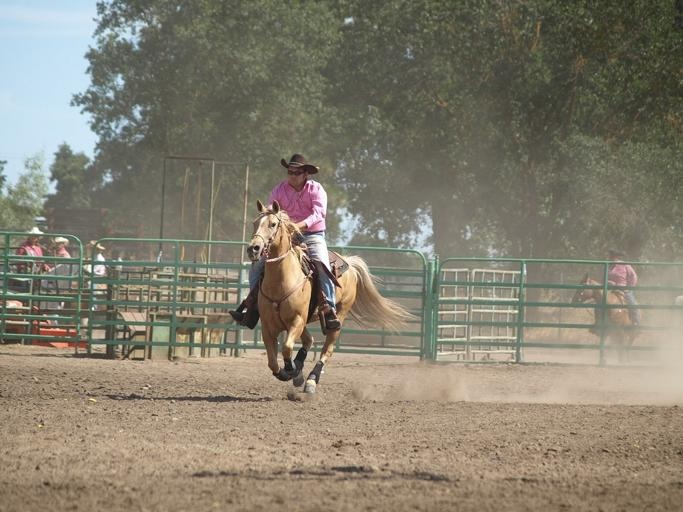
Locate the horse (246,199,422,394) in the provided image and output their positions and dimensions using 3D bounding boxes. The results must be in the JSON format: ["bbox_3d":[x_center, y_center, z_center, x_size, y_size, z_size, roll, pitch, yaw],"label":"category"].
[{"bbox_3d":[-0.616,1.292,28.465,1.500,4.668,6.825,-1,-4,25],"label":"horse"}]

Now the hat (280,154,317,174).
[{"bbox_3d":[-1.073,-2.290,27.522,0.834,0.600,1.217,2,-3,-10],"label":"hat"}]

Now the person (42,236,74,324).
[{"bbox_3d":[-8.644,0.545,34.381,0.745,0.770,2.788,5,-48,-10],"label":"person"}]
